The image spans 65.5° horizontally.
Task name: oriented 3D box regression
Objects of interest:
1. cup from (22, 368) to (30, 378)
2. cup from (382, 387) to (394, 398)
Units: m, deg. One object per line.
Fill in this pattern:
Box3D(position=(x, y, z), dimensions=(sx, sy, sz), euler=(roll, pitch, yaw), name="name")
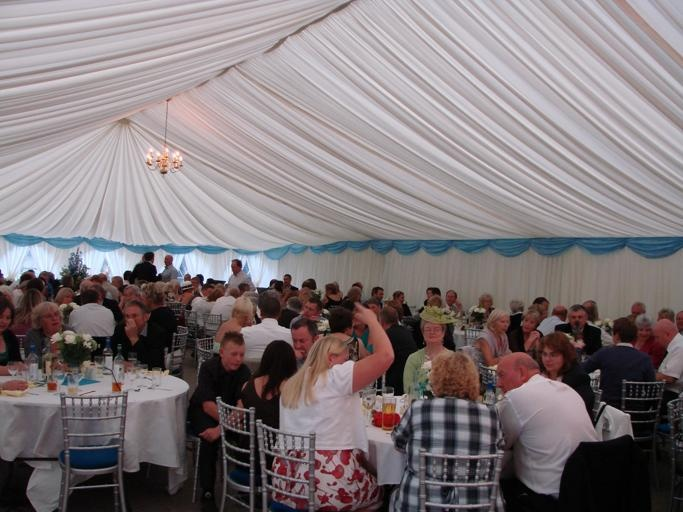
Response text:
Box3D(position=(-2.865, 1.053, 4.839), dimensions=(0.062, 0.085, 0.091), euler=(2, -10, -14), name="cup")
Box3D(position=(0.369, 1.065, 4.210), dimensions=(0.105, 0.094, 0.106), euler=(-1, -3, 0), name="cup")
